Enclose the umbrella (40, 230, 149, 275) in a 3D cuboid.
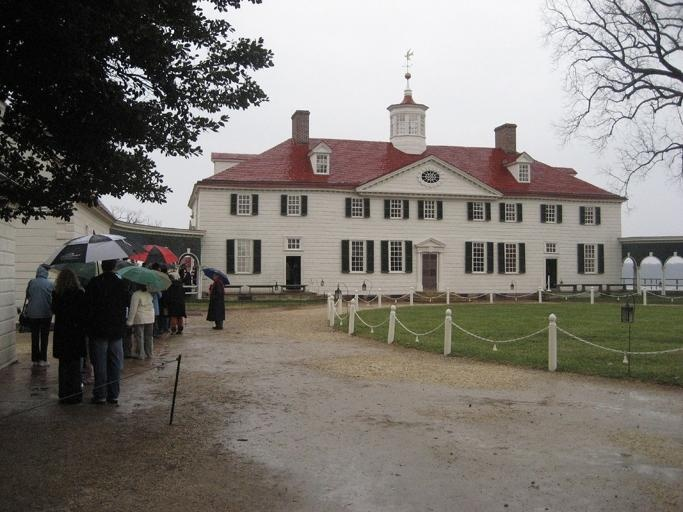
[{"bbox_3d":[-5.112,-0.125,14.526,1.695,0.560,1.677,0,3,8],"label":"umbrella"}]
